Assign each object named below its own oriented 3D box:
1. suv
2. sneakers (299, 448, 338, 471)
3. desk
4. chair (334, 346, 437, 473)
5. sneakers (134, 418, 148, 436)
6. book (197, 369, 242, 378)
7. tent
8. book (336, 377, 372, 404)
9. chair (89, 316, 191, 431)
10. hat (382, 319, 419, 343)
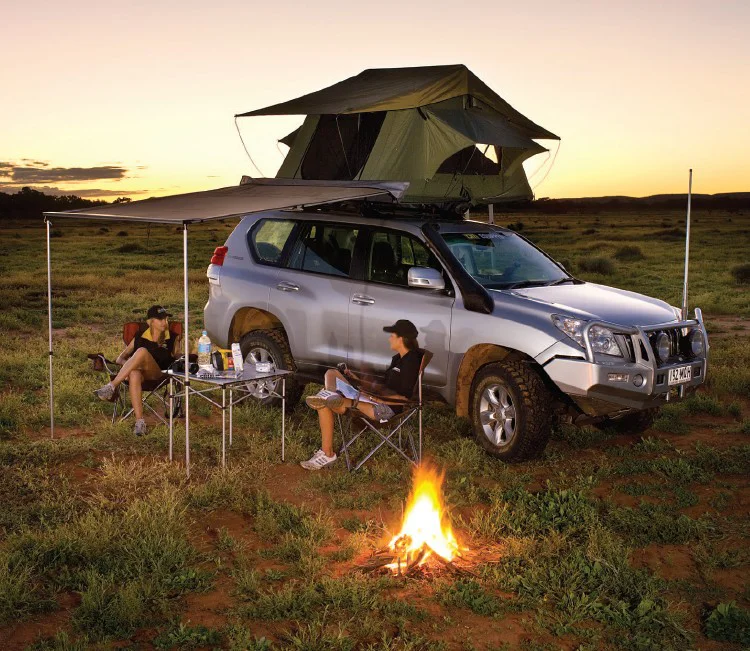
[{"bbox_3d":[0.436,-0.082,7.360,5.800,2.175,2.816,5,8,30],"label":"suv"},{"bbox_3d":[-0.563,1.344,6.273,0.436,0.174,0.149,-2,1,-19],"label":"sneakers"},{"bbox_3d":[-1.493,0.926,6.708,1.504,1.034,1.395,10,-10,-31],"label":"desk"},{"bbox_3d":[-0.013,0.876,6.516,0.856,1.199,0.957,-2,6,-33],"label":"chair"},{"bbox_3d":[-2.682,1.142,7.100,0.126,0.157,0.208,0,14,-21],"label":"sneakers"},{"bbox_3d":[-1.559,0.484,6.286,0.435,0.035,0.351,2,13,-13],"label":"book"},{"bbox_3d":[0.282,-2.171,7.534,3.388,1.226,3.278,10,12,38],"label":"tent"},{"bbox_3d":[-0.212,0.630,6.038,0.276,0.085,0.259,21,13,-30],"label":"book"},{"bbox_3d":[-2.698,0.436,7.219,0.961,1.374,1.177,-6,-9,26],"label":"chair"},{"bbox_3d":[0.246,0.052,6.105,0.325,0.158,0.190,13,5,9],"label":"hat"}]
